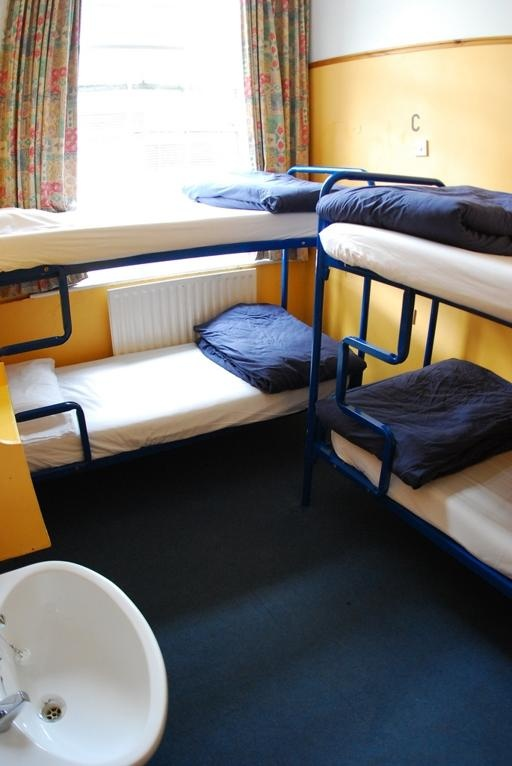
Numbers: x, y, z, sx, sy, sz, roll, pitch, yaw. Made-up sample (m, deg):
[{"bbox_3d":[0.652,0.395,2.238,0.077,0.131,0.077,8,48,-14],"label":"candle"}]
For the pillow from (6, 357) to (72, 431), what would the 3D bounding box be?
[{"bbox_3d":[-1.001,0.011,2.566,0.276,0.112,0.446,-14,36,-23],"label":"pillow"}]
